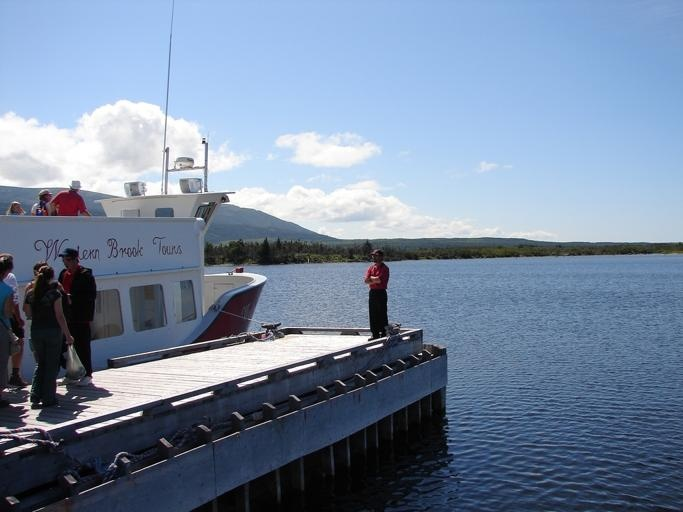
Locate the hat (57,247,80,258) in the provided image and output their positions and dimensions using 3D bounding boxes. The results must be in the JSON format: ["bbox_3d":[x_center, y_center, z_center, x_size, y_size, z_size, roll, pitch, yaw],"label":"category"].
[{"bbox_3d":[-5.296,-0.074,11.140,0.203,0.132,0.291,0,-7,19],"label":"hat"}]

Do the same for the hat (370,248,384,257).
[{"bbox_3d":[0.912,-0.091,14.423,0.267,0.129,0.184,3,-1,-8],"label":"hat"}]

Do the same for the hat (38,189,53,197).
[{"bbox_3d":[-6.671,-1.426,12.996,0.447,0.162,0.306,-7,10,-40],"label":"hat"}]

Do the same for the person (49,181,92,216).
[{"bbox_3d":[-6.055,-1.253,12.820,0.795,0.841,0.826,-3,1,-28],"label":"person"}]

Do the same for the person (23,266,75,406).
[{"bbox_3d":[-4.758,1.297,9.376,0.656,2.498,0.302,-3,1,-16],"label":"person"}]
